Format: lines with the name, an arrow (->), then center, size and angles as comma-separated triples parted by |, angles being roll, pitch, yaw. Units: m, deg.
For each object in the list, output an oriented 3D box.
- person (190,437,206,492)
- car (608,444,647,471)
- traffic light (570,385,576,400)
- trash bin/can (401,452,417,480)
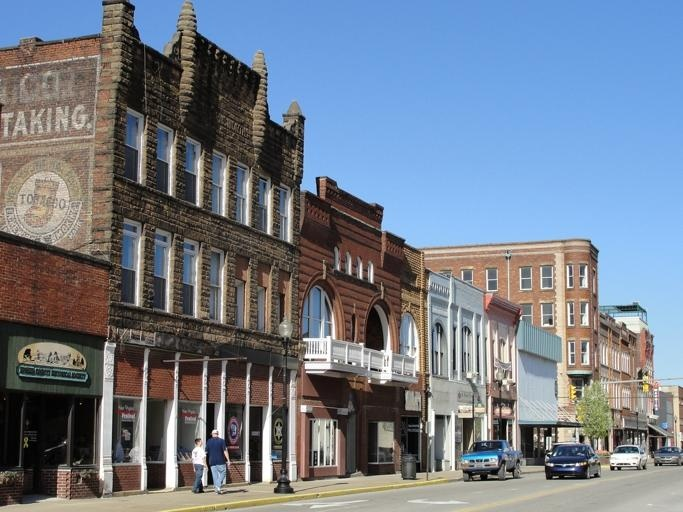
person -> -5.176, 7.618, 36.375 | 0.441, 2.007, 1.318 | 1, -16, -8
car -> 19.351, 13.680, 67.380 | 1.367, 1.229, 3.314 | -6, -18, 16
traffic light -> 19.369, 11.453, 83.785 | 0.397, 0.923, 1.296 | -3, -17, 5
trash bin/can -> 3.218, 10.320, 48.823 | 0.847, 1.429, 0.942 | -2, -8, 14
